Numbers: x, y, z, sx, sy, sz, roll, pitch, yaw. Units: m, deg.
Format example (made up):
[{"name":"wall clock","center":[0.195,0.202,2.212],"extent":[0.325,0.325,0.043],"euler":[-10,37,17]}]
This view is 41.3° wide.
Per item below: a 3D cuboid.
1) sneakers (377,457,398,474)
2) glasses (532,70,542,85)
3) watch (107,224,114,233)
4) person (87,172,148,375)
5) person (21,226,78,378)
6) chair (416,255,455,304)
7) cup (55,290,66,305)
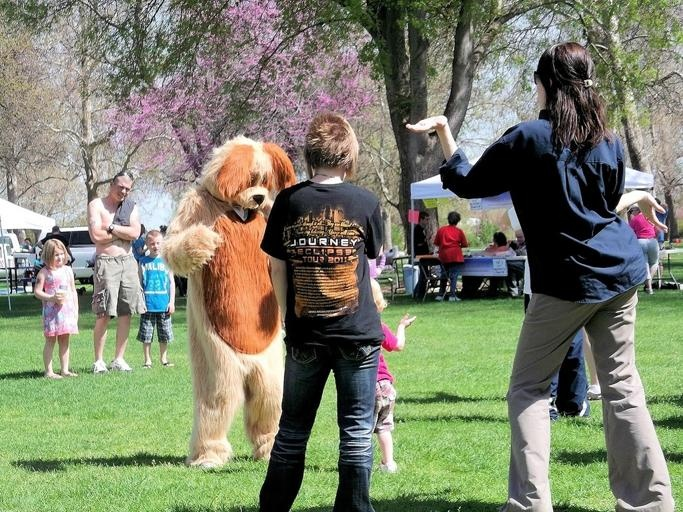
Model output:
[{"name":"sneakers","center":[0.376,1.716,7.450],"extent":[0.074,0.106,0.151],"euler":[-3,6,-40]},{"name":"glasses","center":[1.409,-1.281,6.496],"extent":[0.029,0.082,0.060],"euler":[2,-4,-27]},{"name":"watch","center":[-2.754,-0.324,10.833],"extent":[0.064,0.102,0.090],"euler":[5,-2,-11]},{"name":"person","center":[-2.738,0.209,11.062],"extent":[0.670,2.412,0.917],"euler":[-1,-2,-13]},{"name":"person","center":[-3.503,0.619,11.132],"extent":[0.477,1.690,0.618],"euler":[-1,-2,-16]},{"name":"chair","center":[1.900,0.378,19.236],"extent":[0.728,1.227,0.939],"euler":[1,16,22]},{"name":"cup","center":[-3.402,0.490,10.981],"extent":[0.097,0.178,0.093],"euler":[-1,-2,0]}]
